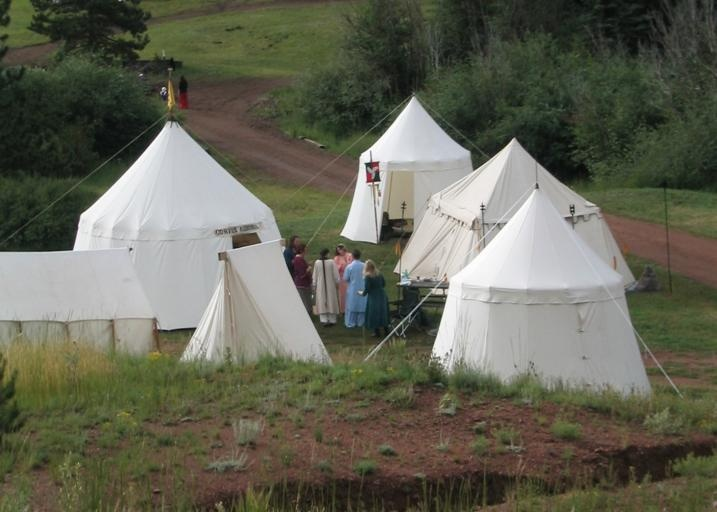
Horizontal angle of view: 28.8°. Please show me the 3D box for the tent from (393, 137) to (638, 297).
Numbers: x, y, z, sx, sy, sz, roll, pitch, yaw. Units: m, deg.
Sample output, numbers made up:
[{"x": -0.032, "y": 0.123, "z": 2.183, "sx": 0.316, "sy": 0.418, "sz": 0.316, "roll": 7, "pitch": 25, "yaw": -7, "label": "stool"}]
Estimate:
[{"x": 5.136, "y": -1.986, "z": 53.620, "sx": 7.114, "sy": 5.900, "sz": 11.773, "roll": 8, "pitch": 16, "yaw": 7, "label": "tent"}]

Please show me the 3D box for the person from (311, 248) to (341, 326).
[{"x": -1.190, "y": 1.153, "z": 49.738, "sx": 0.725, "sy": 2.542, "sz": 1.154, "roll": 0, "pitch": 0, "yaw": -9, "label": "person"}]

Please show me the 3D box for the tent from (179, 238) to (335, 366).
[{"x": -3.836, "y": 1.911, "z": 47.247, "sx": 4.149, "sy": 4.390, "sz": 3.927, "roll": -5, "pitch": 5, "yaw": -41, "label": "tent"}]

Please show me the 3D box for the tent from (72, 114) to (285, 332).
[{"x": -6.312, "y": -0.716, "z": 51.746, "sx": 6.736, "sy": 5.742, "sz": 7.278, "roll": -4, "pitch": 16, "yaw": -22, "label": "tent"}]
